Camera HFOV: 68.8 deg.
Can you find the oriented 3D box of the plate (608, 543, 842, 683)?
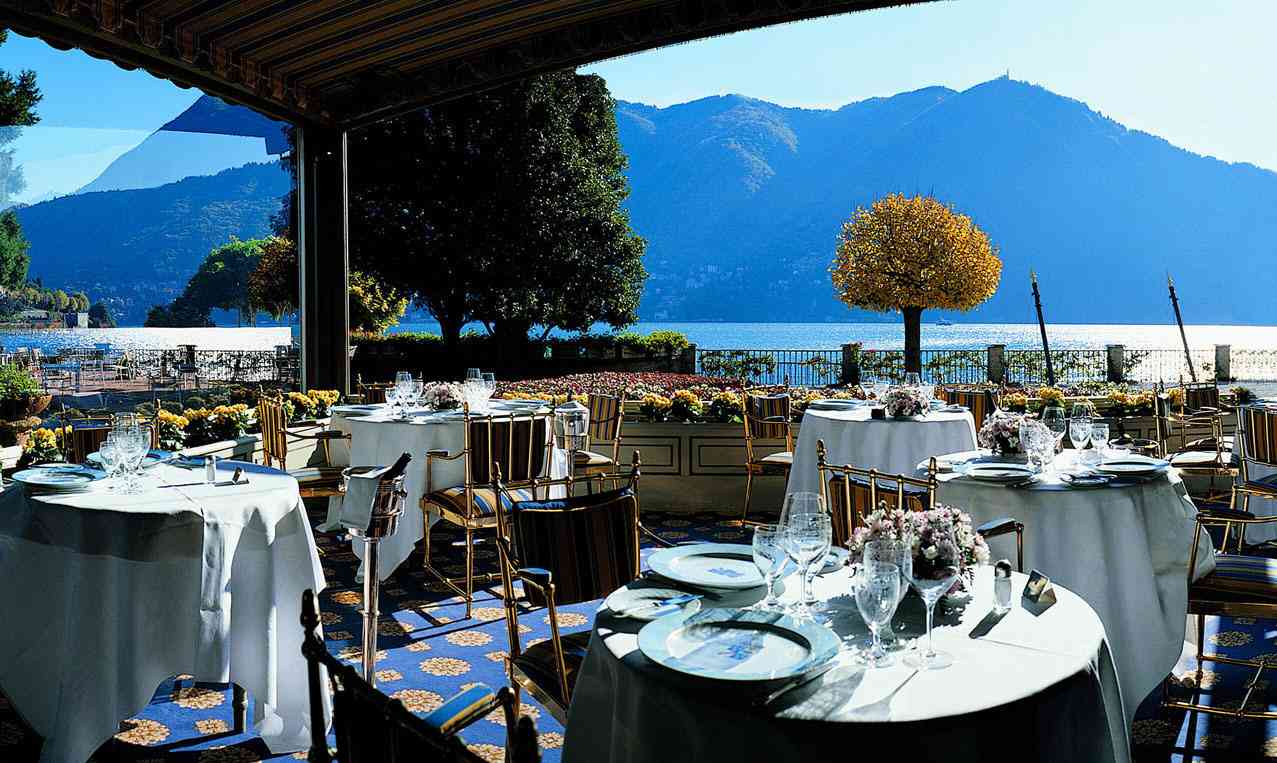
[{"bbox_3d":[0.404,1.221,5.044,0.952,0.616,1.027,0,-1,-26],"label":"plate"}]

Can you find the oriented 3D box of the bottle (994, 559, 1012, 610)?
[{"bbox_3d":[1.971,1.125,5.115,0.094,0.271,0.059,-1,-1,3],"label":"bottle"}]
